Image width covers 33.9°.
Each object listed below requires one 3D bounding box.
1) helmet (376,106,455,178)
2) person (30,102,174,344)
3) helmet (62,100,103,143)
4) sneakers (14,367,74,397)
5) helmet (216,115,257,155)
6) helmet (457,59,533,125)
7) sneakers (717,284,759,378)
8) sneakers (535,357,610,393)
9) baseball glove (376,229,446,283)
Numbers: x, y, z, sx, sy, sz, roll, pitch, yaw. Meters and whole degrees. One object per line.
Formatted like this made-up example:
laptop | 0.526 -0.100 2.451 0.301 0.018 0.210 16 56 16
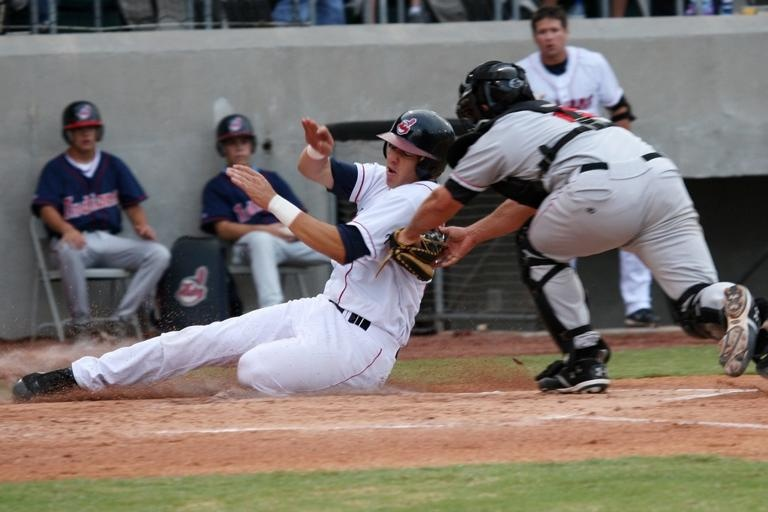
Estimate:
helmet | 0.133 -0.681 7.316 0.389 0.333 0.482 23 19 23
person | -2.043 -0.292 9.085 1.144 1.514 1.037 8 11 26
helmet | -2.228 -1.029 9.293 0.329 0.258 0.353 -7 21 -30
sneakers | -1.986 0.736 7.339 0.338 0.119 0.162 -10 39 -12
helmet | -1.129 -0.987 9.560 0.342 0.205 0.412 -6 7 -6
helmet | 0.697 -0.948 7.343 0.449 0.357 0.352 2 -1 38
sneakers | 1.989 0.407 6.973 0.265 0.495 0.194 1 -26 26
sneakers | 1.128 0.725 7.494 0.219 0.197 0.533 5 -14 -31
baseball glove | 0.282 -0.030 7.138 0.196 0.218 0.536 -23 18 -39
